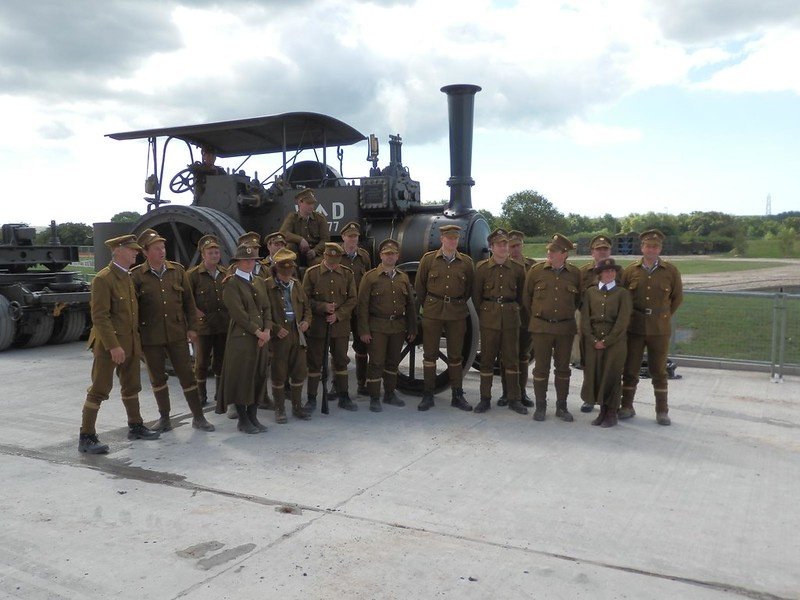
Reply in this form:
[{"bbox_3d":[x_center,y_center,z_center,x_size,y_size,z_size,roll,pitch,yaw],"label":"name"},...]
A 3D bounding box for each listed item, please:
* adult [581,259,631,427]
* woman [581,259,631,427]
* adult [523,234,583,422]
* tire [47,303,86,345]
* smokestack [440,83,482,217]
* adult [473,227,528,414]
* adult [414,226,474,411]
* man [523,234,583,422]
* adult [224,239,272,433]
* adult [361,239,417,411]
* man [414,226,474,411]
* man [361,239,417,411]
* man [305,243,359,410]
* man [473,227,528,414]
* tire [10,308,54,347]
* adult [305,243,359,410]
[{"bbox_3d":[2.259,0.438,6.889,0.511,1.757,0.637,-2,9,-12],"label":"adult"},{"bbox_3d":[2.257,0.437,6.894,0.510,1.757,0.629,-3,9,-15],"label":"woman"},{"bbox_3d":[1.703,0.275,7.086,0.623,2.054,0.751,2,9,16],"label":"adult"},{"bbox_3d":[-6.460,0.424,12.072,0.795,0.788,0.264,-1,-3,27],"label":"tire"},{"bbox_3d":[0.766,-1.930,8.120,0.444,1.654,0.326,1,9,6],"label":"smokestack"},{"bbox_3d":[1.169,0.231,7.260,0.638,2.079,0.454,1,9,10],"label":"adult"},{"bbox_3d":[0.519,0.192,7.331,0.680,2.127,0.440,0,9,1],"label":"adult"},{"bbox_3d":[1.702,0.275,7.085,0.623,2.054,0.743,2,9,15],"label":"man"},{"bbox_3d":[-1.624,0.383,6.624,0.531,1.930,0.614,-1,9,-4],"label":"adult"},{"bbox_3d":[-0.128,0.268,7.434,0.717,1.955,0.485,-5,10,-30],"label":"adult"},{"bbox_3d":[0.515,0.191,7.332,0.680,2.127,0.431,0,9,3],"label":"man"},{"bbox_3d":[-0.128,0.268,7.434,0.717,1.955,0.485,-5,10,-30],"label":"man"},{"bbox_3d":[-0.813,0.304,7.305,0.626,1.947,0.517,-1,9,-6],"label":"man"},{"bbox_3d":[1.169,0.231,7.260,0.638,2.079,0.454,1,9,10],"label":"man"},{"bbox_3d":[-6.768,0.515,11.624,0.520,0.740,0.688,-2,-24,-4],"label":"tire"},{"bbox_3d":[-0.813,0.304,7.305,0.626,1.947,0.517,-1,9,-6],"label":"adult"}]
